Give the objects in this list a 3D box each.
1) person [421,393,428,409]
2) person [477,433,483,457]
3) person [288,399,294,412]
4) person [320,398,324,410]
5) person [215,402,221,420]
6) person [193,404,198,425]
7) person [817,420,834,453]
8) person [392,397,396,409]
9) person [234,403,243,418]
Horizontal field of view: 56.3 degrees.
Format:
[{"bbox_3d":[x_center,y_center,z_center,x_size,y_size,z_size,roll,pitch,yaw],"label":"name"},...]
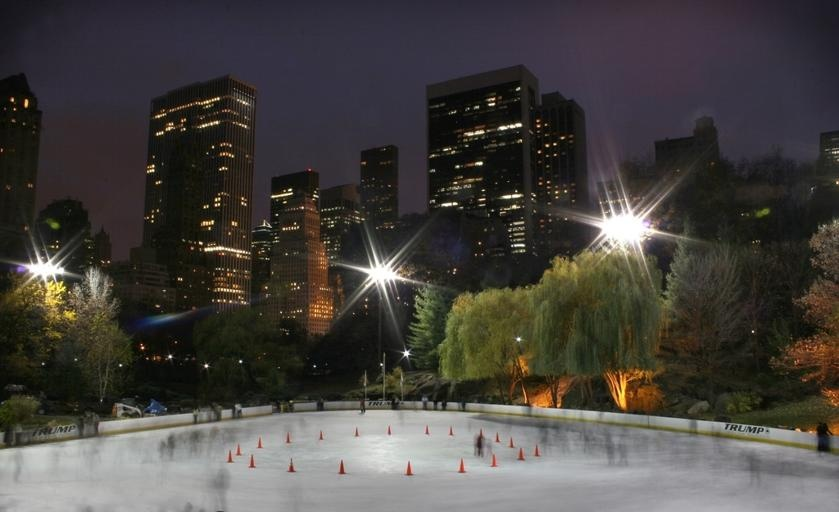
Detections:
[{"bbox_3d":[0.790,18.865,101.207,0.662,1.428,1.129,-1,1,-4],"label":"person"},{"bbox_3d":[4.938,15.518,64.183,0.414,1.713,0.980,-4,12,8],"label":"person"},{"bbox_3d":[-16.288,19.109,99.884,0.519,1.064,1.057,-1,1,-1],"label":"person"},{"bbox_3d":[-12.714,19.392,102.379,0.602,1.078,1.359,-1,1,-2],"label":"person"},{"bbox_3d":[-22.271,17.290,86.852,0.650,1.502,1.428,-1,1,-8],"label":"person"},{"bbox_3d":[-23.958,17.176,84.144,0.463,1.262,1.411,-1,1,-11],"label":"person"},{"bbox_3d":[34.065,15.209,66.053,1.095,2.235,1.181,0,1,10],"label":"person"},{"bbox_3d":[-3.371,19.343,103.649,0.357,1.494,0.805,-2,-2,20],"label":"person"},{"bbox_3d":[-20.654,17.655,89.808,0.581,1.576,1.299,0,1,19],"label":"person"}]
